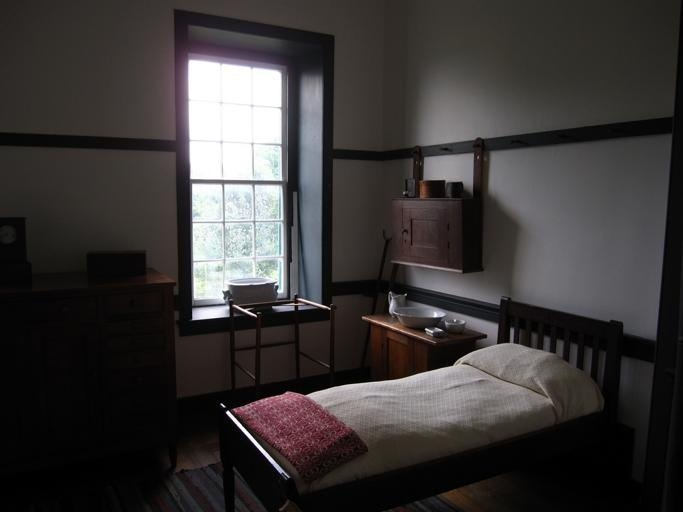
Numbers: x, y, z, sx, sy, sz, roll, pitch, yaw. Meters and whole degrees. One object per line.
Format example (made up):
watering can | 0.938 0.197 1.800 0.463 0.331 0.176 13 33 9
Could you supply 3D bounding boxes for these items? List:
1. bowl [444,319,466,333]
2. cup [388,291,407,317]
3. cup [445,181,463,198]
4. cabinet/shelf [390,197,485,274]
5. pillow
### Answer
bowl | 0.864 0.523 3.830 0.108 0.057 0.105 -1 3 0
cup | 0.434 0.405 4.310 0.200 0.217 0.137 3 -1 38
cup | 0.848 -0.495 3.835 0.124 0.119 0.101 0 3 -10
cabinet/shelf | 0.726 -0.190 4.046 0.270 0.544 0.687 -9 11 -42
pillow | 1.144 0.664 3.061 0.387 0.169 0.523 -7 17 -35
